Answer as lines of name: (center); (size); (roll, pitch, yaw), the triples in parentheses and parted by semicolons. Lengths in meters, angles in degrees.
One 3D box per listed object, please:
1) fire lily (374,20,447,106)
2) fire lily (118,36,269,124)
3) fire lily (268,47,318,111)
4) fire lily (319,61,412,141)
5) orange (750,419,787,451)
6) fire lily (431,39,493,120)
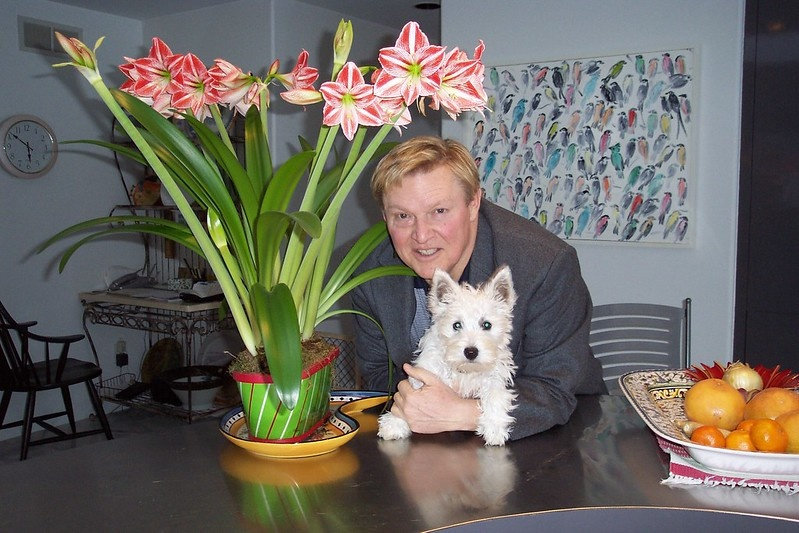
fire lily: (0.039, -0.521, 1.568); (0.179, 0.213, 0.081); (-2, 38, -7)
fire lily: (-0.575, -0.511, 1.679); (0.360, 0.173, 0.213); (-6, 49, -19)
fire lily: (-0.317, -0.524, 1.681); (0.184, 0.140, 0.125); (16, 49, 43)
fire lily: (-0.103, -0.408, 1.631); (0.167, 0.233, 0.238); (4, 9, 32)
orange: (0.952, 0.442, 1.545); (0.076, 0.082, 0.040); (9, -27, -22)
fire lily: (0.172, -0.505, 1.672); (0.104, 0.214, 0.164); (2, 8, -3)
